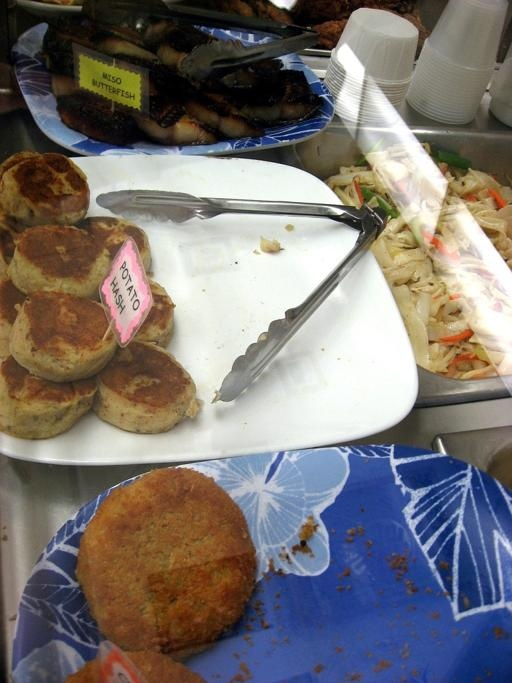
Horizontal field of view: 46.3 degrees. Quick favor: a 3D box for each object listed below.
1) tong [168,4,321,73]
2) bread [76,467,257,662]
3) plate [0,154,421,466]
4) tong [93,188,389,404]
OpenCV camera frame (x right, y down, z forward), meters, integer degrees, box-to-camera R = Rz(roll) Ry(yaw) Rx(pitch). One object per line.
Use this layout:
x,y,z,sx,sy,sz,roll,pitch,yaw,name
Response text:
-0.020,-0.397,0.822,0.143,0.053,0.102,3,77,9,tong
-0.089,0.210,0.573,0.155,0.063,0.162,-3,52,-10,bread
-0.026,-0.010,0.721,0.456,0.073,0.418,-3,48,-14,plate
-0.006,-0.061,0.887,0.330,0.054,0.304,-23,57,-20,tong
